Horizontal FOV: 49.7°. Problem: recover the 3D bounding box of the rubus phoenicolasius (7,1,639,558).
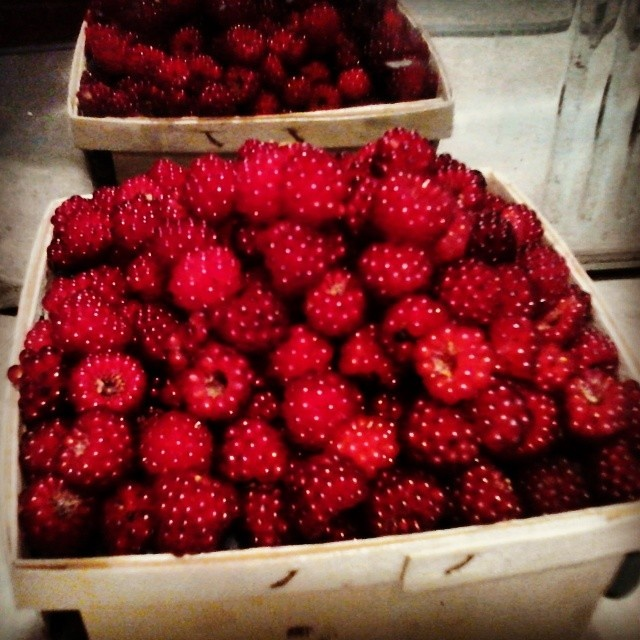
[{"bbox_3d":[-0.012,0.016,0.861,0.605,0.180,0.690,-4,49,-7],"label":"rubus phoenicolasius"}]
